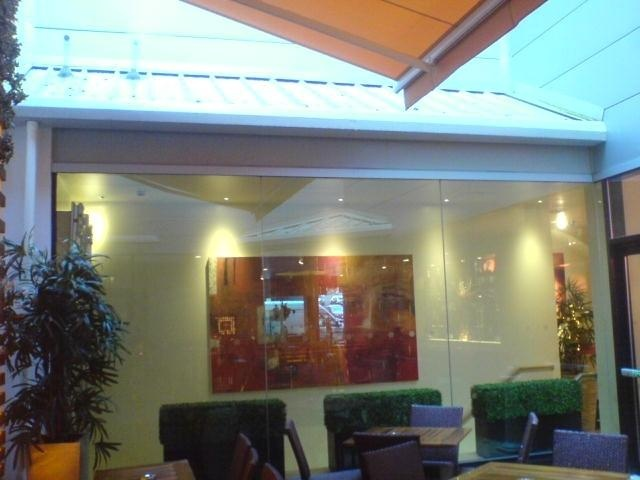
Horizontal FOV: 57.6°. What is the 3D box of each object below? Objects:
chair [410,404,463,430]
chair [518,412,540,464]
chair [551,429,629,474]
[{"bbox_3d":[1.417,2.146,7.091,0.515,0.302,0.344,0,-1,17],"label":"chair"},{"bbox_3d":[2.243,2.141,6.288,0.221,0.552,0.453,-5,-7,18],"label":"chair"},{"bbox_3d":[2.626,2.009,5.688,0.651,0.377,0.691,8,-8,-35],"label":"chair"}]
